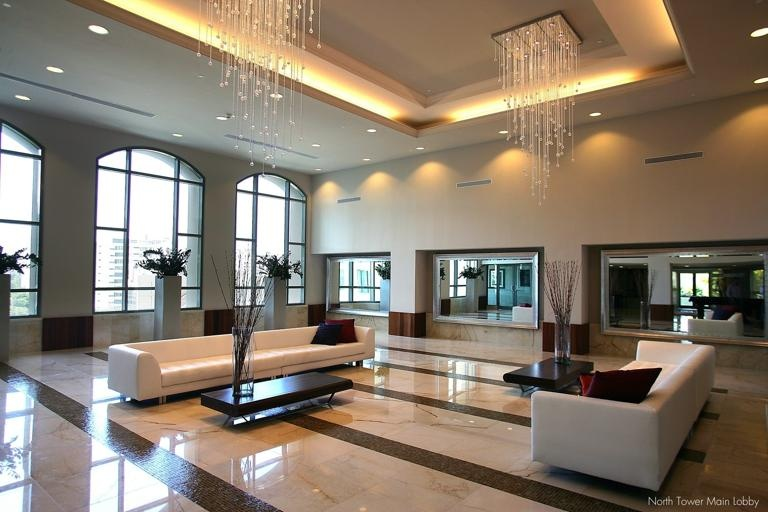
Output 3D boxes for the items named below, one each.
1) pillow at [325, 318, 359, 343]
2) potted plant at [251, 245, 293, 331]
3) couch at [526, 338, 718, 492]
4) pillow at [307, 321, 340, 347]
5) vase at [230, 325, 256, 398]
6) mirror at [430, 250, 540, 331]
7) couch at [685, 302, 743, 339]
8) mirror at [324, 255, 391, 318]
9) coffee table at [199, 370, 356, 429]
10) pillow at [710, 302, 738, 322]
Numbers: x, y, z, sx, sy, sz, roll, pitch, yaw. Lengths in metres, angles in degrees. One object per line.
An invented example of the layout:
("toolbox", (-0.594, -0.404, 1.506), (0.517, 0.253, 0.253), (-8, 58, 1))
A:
("pillow", (-0.804, 1.634, 9.816), (0.782, 0.713, 0.407), (1, -10, -4))
("potted plant", (-2.784, 0.872, 13.018), (1.133, 1.756, 1.007), (4, 10, 25))
("couch", (3.492, 1.914, 6.612), (4.036, 1.013, 1.295), (-7, 11, -44))
("pillow", (-1.109, 1.520, 9.503), (0.451, 0.424, 0.137), (9, -16, 14))
("vase", (-2.003, 1.447, 6.928), (0.293, 0.924, 0.673), (-2, 8, -17))
("mirror", (2.650, 0.875, 12.379), (2.154, 1.477, 0.088), (0, -1, 38))
("couch", (6.703, 1.286, 9.900), (0.658, 0.676, 0.704), (-3, -5, 38))
("mirror", (-0.677, 0.861, 14.601), (2.041, 1.446, 0.142), (-1, -1, 39))
("coffee table", (-1.537, 1.949, 7.075), (1.976, 0.220, 0.718), (-4, 9, -30))
("pillow", (6.815, 1.120, 9.839), (0.404, 0.343, 0.074), (6, 10, 33))
